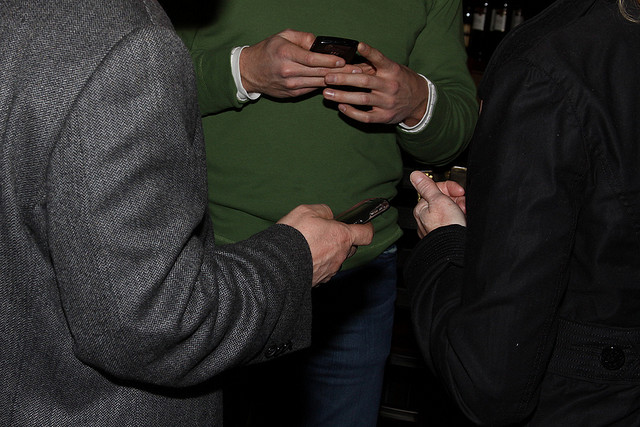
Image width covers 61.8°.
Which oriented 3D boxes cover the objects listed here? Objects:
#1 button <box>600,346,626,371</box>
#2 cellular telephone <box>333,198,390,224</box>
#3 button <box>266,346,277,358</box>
[{"bbox_3d":[0.625,0.310,1.146,0.049,0.051,0.024,-2,30,0],"label":"button"},{"bbox_3d":[0.106,-0.021,1.470,0.130,0.032,0.069,-33,22,-29],"label":"cellular telephone"},{"bbox_3d":[-0.107,0.304,1.175,0.026,0.037,0.008,-22,35,-29],"label":"button"}]
